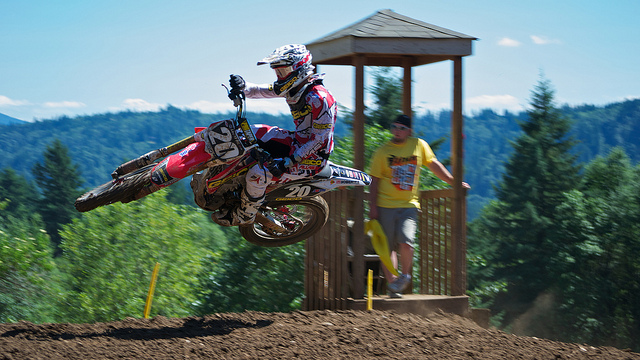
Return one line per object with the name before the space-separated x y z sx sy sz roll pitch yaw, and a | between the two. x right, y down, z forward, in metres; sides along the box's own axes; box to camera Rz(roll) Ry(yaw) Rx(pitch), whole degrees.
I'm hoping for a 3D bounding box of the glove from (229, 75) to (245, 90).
glove | -2.711 -3.173 23.601 0.386 0.435 0.345 -15 22 -40
